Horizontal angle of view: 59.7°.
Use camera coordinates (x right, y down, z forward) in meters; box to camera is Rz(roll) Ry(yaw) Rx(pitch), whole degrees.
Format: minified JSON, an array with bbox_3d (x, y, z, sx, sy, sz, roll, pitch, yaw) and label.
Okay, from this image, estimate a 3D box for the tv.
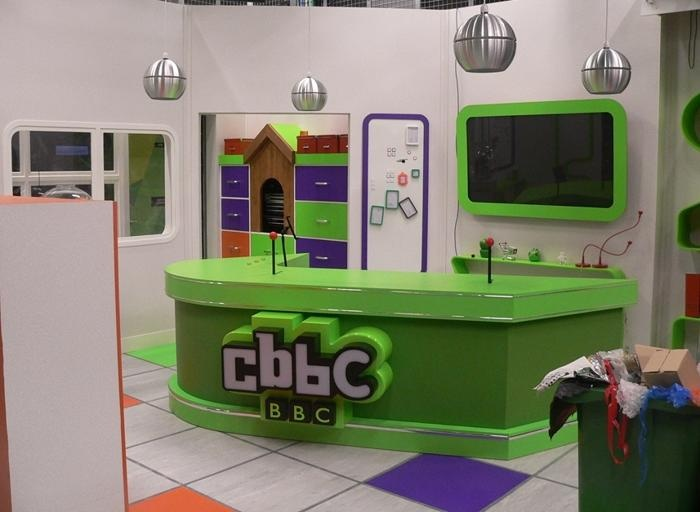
[{"bbox_3d":[2.245,-1.112,6.901,1.298,1.055,0.154,3,8,32],"label":"tv"}]
